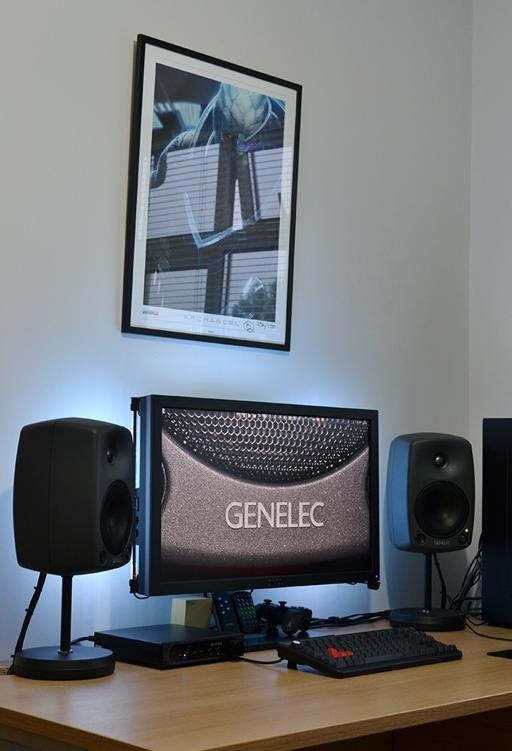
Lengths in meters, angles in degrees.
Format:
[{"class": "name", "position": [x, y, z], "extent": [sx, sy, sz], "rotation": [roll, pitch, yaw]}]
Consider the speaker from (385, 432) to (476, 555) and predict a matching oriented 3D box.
[{"class": "speaker", "position": [0.446, 0.298, 1.650], "extent": [0.218, 0.263, 0.166], "rotation": [1, 1, 11]}]
